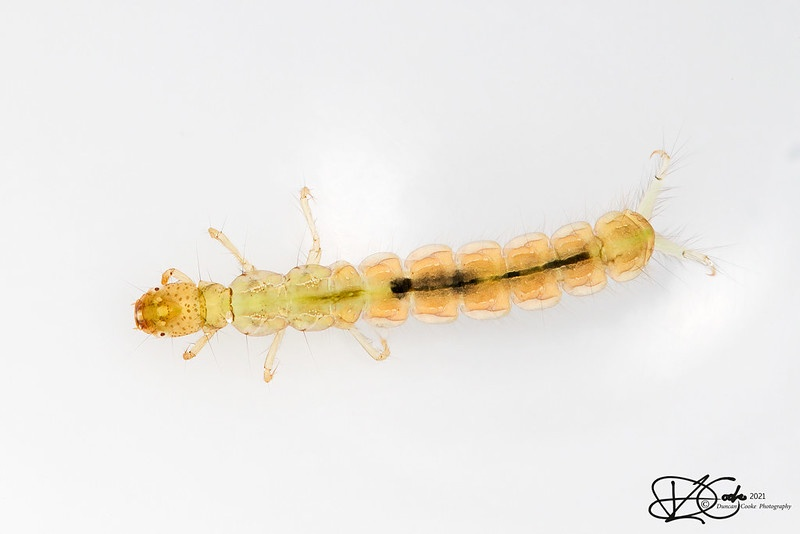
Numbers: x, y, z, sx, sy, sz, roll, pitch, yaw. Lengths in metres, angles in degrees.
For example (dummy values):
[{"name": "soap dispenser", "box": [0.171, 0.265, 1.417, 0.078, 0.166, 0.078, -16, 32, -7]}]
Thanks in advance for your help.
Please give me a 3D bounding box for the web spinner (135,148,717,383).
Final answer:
[{"name": "web spinner", "box": [0.326, 0.169, 16.120, 9.820, 3.293, 1.101, -8, -57, -3]}]
